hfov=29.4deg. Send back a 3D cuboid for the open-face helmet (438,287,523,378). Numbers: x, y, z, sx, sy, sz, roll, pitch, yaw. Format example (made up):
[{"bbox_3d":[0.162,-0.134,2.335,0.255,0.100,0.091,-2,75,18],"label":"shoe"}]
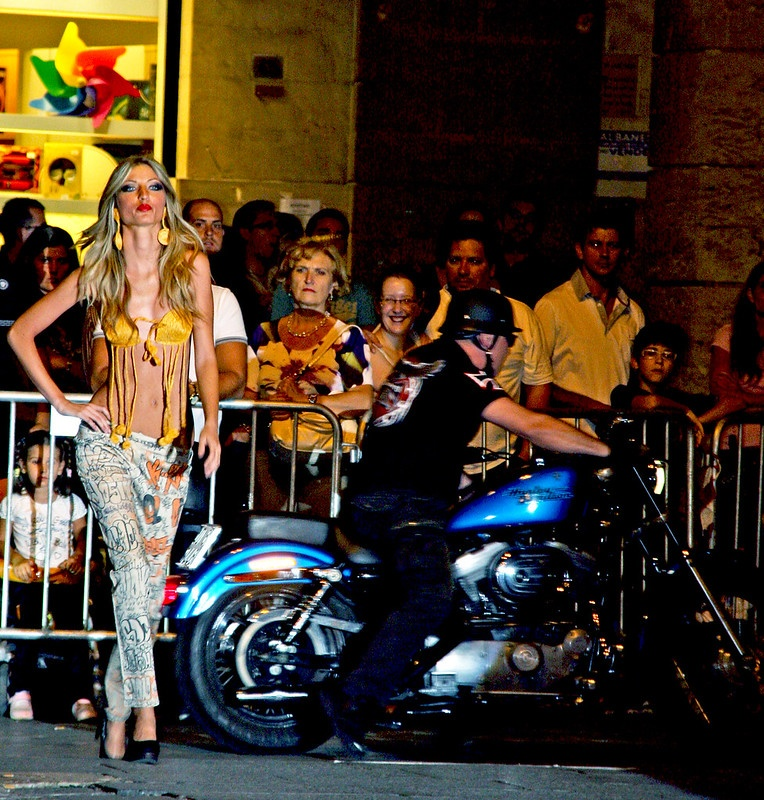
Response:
[{"bbox_3d":[0.440,-0.317,6.234,0.394,0.382,0.330,12,26,26],"label":"open-face helmet"}]

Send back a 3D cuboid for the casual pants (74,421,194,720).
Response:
[{"bbox_3d":[-0.958,0.626,5.555,0.437,1.076,0.268,2,0,-10],"label":"casual pants"}]

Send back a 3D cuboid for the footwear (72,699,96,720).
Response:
[{"bbox_3d":[-1.305,1.359,6.391,0.084,0.091,0.088,1,38,-15],"label":"footwear"}]

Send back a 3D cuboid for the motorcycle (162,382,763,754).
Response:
[{"bbox_3d":[0.319,0.748,6.674,2.701,1.416,1.251,-1,0,-15],"label":"motorcycle"}]

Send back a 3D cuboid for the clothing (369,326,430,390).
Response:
[{"bbox_3d":[0.088,-0.192,6.945,0.375,0.328,0.188,2,-11,-9],"label":"clothing"}]

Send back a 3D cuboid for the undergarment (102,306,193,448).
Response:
[{"bbox_3d":[-0.916,-0.095,5.695,0.338,0.555,0.219,1,1,-13],"label":"undergarment"}]

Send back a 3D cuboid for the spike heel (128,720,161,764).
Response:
[{"bbox_3d":[-0.908,1.328,5.526,0.128,0.099,0.107,2,0,-10],"label":"spike heel"}]

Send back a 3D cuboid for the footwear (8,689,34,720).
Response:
[{"bbox_3d":[-1.586,1.338,6.392,0.102,0.114,0.115,2,21,-20],"label":"footwear"}]

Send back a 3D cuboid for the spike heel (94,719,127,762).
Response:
[{"bbox_3d":[-1.043,1.296,5.586,0.073,0.189,0.078,2,-2,-2],"label":"spike heel"}]
